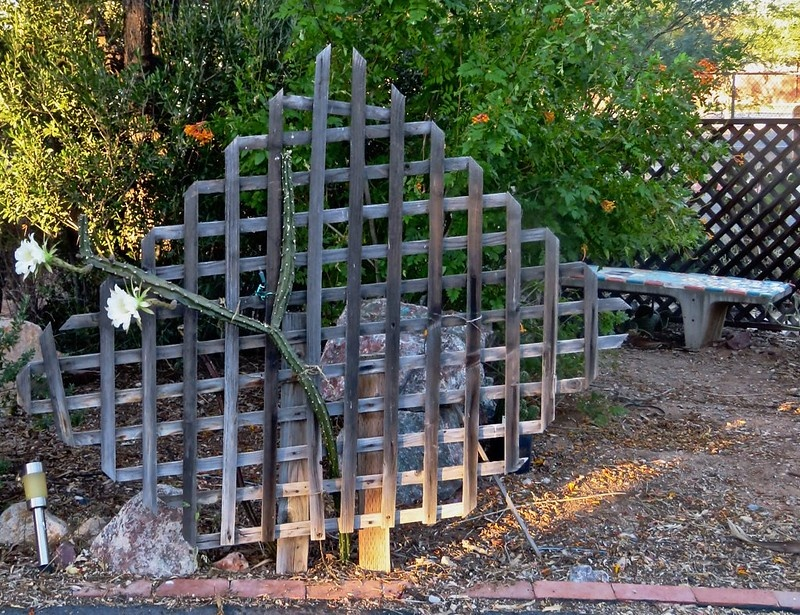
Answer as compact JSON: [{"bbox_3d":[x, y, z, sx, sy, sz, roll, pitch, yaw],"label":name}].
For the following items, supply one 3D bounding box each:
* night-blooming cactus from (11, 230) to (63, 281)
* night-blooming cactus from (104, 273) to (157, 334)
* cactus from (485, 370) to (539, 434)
[{"bbox_3d":[-1.793,-0.245,4.317,0.162,0.273,0.628,-3,11,-22],"label":"night-blooming cactus"},{"bbox_3d":[-1.277,-0.007,4.128,0.209,0.199,0.298,-3,10,-20],"label":"night-blooming cactus"},{"bbox_3d":[0.657,0.587,5.366,0.384,0.195,0.557,8,-35,18],"label":"cactus"}]
